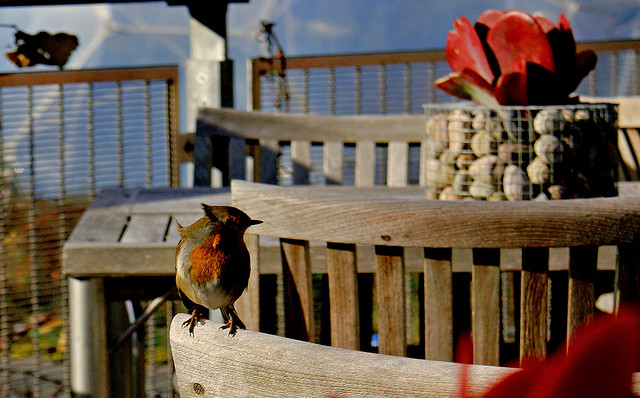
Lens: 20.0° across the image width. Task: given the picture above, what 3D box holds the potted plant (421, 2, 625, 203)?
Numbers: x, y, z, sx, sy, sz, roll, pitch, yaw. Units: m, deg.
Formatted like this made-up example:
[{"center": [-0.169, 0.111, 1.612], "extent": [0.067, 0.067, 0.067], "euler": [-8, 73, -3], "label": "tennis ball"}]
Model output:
[{"center": [1.038, -0.460, 10.058], "extent": [1.153, 1.254, 1.186], "euler": [0, 3, 28], "label": "potted plant"}]

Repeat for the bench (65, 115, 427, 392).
[{"center": [-0.469, 0.779, 10.780], "extent": [2.272, 2.173, 1.649], "euler": [0, 22, -3], "label": "bench"}]

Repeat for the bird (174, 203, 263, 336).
[{"center": [-0.568, 0.358, 9.507], "extent": [0.424, 0.732, 0.851], "euler": [2, 10, -9], "label": "bird"}]
